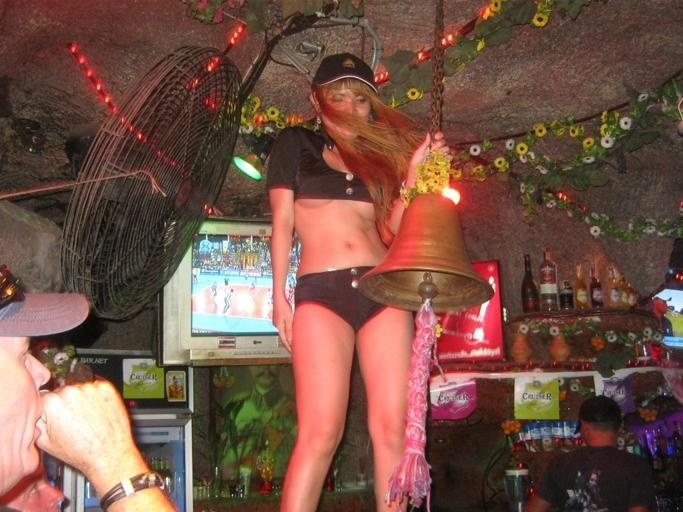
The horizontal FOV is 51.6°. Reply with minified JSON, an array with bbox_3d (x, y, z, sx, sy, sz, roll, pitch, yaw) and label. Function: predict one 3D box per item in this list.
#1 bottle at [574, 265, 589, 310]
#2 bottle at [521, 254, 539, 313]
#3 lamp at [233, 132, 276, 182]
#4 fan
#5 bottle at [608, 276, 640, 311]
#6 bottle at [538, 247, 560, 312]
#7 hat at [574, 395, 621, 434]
[{"bbox_3d":[2.313,0.293,6.816,0.139,0.423,0.240,-2,-8,18],"label":"bottle"},{"bbox_3d":[1.827,0.273,6.856,0.163,0.566,0.207,-1,-8,15],"label":"bottle"},{"bbox_3d":[-0.643,-0.744,5.077,0.230,0.304,0.245,-9,-24,25],"label":"lamp"},{"bbox_3d":[-1.066,-0.322,3.726,0.318,1.414,1.432,26,26,14],"label":"fan"},{"bbox_3d":[2.551,0.343,6.519,0.301,0.312,0.329,-6,-10,40],"label":"bottle"},{"bbox_3d":[1.990,0.250,6.780,0.185,0.601,0.393,-1,-8,16],"label":"bottle"},{"bbox_3d":[1.903,1.196,5.282,0.277,0.238,0.398,2,-10,6],"label":"hat"}]
